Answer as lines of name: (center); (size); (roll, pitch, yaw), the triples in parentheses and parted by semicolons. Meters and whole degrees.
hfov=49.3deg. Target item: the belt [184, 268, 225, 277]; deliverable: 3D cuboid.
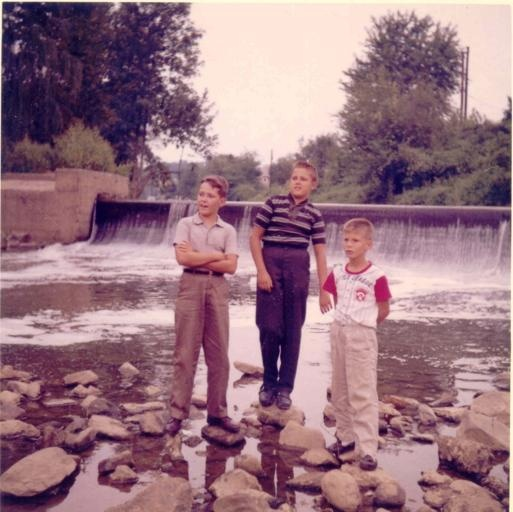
belt: (-0.355, 0.118, 3.782); (0.263, 0.059, 0.067); (0, 7, -13)

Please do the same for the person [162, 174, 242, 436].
person: (-0.363, 0.314, 3.864); (0.472, 1.733, 0.594); (0, 7, -6)

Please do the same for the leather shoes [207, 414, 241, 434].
leather shoes: (-0.213, 1.132, 3.819); (0.239, 0.120, 0.086); (0, 4, 33)

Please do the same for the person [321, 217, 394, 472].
person: (0.656, 0.524, 3.498); (0.331, 1.485, 0.622); (-1, 7, -16)

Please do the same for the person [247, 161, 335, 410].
person: (0.238, 0.214, 4.202); (0.574, 1.831, 0.450); (1, 7, -2)
